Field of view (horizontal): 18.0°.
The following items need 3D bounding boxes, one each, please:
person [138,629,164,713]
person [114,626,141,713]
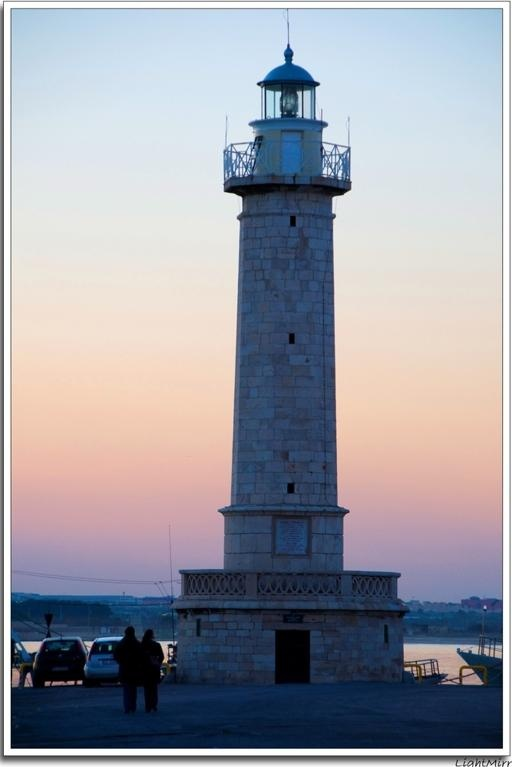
[{"bbox_3d":[-1.749,4.852,27.330,0.412,1.345,0.360,-3,-10,7],"label":"person"},{"bbox_3d":[-2.126,4.711,26.826,0.463,1.309,1.109,7,2,-4],"label":"person"}]
